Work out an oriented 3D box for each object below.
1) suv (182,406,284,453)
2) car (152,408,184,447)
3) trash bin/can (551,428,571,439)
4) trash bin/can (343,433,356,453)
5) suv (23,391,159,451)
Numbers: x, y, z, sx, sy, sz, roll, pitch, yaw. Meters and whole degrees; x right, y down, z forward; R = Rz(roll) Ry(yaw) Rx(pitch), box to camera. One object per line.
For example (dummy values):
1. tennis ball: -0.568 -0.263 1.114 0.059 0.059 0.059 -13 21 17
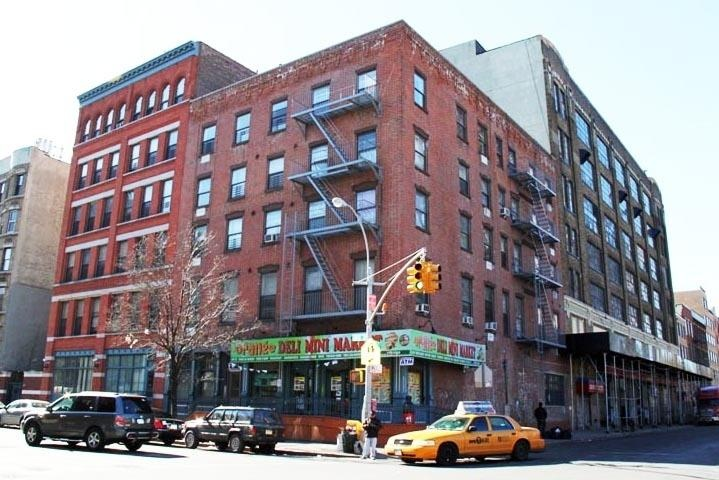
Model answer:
1. suv: -6.758 10.262 32.976 6.235 2.623 2.626 -12 -24 28
2. car: -10.497 10.279 33.076 2.321 0.978 1.157 -3 -9 40
3. trash bin/can: 14.270 13.819 43.331 0.741 0.486 0.782 9 -15 -32
4. trash bin/can: -0.505 10.652 31.853 0.878 1.222 0.664 2 -8 -4
5. suv: -13.335 9.027 30.048 6.632 2.671 2.218 -7 -22 18
